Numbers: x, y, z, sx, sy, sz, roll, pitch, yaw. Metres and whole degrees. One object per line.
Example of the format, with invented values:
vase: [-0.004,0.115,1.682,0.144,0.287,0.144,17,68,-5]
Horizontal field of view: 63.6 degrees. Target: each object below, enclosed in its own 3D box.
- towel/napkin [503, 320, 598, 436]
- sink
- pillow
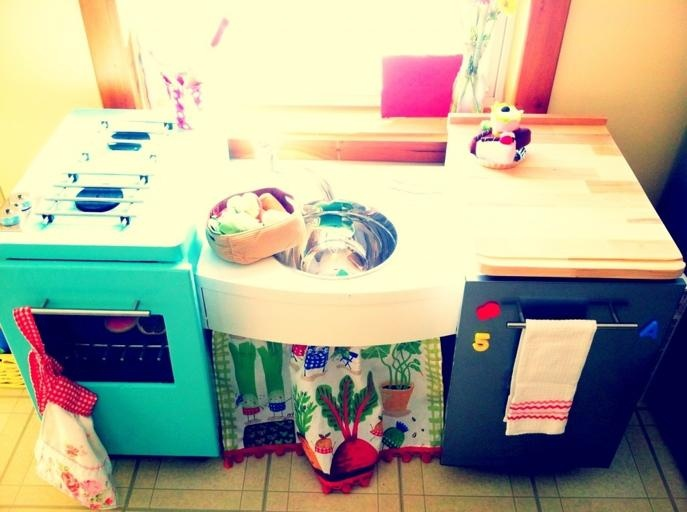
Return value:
towel/napkin: [0.662,0.405,1.795,0.227,0.465,0.104,1,39,2]
sink: [-0.018,-0.050,2.060,0.317,0.110,0.323,-11,49,-7]
pillow: [0.317,-0.678,2.258,0.304,0.205,0.060,1,20,-2]
